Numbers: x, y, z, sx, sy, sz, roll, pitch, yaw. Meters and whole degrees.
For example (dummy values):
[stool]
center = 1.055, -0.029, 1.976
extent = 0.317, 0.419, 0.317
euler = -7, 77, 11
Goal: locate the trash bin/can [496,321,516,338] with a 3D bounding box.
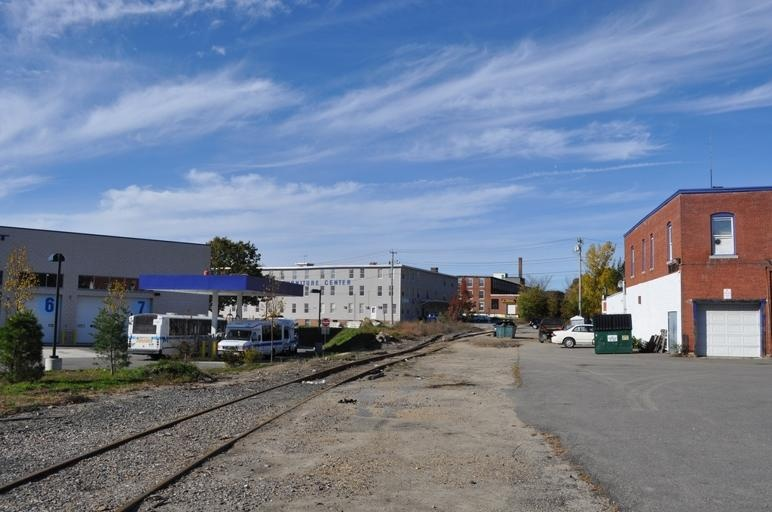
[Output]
[trash bin/can]
center = 11.698, 7.159, 57.668
extent = 1.849, 1.415, 3.105
euler = 1, -1, 17

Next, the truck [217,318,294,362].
[truck]
center = -7.958, 4.931, 36.613
extent = 2.789, 2.454, 8.105
euler = 0, -9, 9

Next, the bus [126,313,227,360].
[bus]
center = -13.142, 4.988, 36.863
extent = 3.933, 2.740, 5.734
euler = -1, -9, 15
